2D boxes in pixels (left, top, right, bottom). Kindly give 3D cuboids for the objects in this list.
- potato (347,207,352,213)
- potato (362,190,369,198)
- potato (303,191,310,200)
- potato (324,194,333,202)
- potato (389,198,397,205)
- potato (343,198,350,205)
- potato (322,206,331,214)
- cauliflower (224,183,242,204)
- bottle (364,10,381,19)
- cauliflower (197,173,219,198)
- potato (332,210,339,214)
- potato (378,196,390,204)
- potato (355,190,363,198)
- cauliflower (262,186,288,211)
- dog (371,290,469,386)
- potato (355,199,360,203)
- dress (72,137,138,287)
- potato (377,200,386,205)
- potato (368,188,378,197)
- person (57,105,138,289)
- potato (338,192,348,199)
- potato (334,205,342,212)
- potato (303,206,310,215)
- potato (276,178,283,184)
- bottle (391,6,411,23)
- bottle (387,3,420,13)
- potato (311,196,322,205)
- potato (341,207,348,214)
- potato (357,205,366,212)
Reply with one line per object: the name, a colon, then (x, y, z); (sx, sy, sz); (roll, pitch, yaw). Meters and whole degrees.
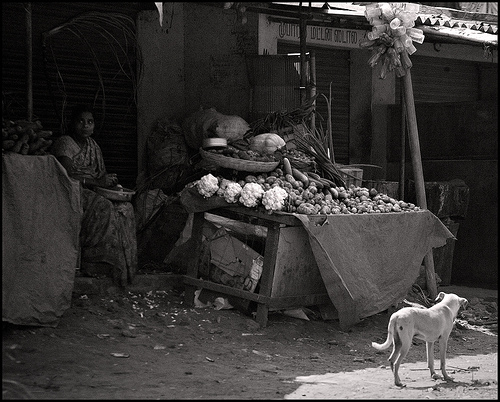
potato: (1.268, 0.109, 6.776); (0.072, 0.079, 0.057); (-4, 6, 33)
potato: (1.610, -0.105, 7.324); (0.066, 0.062, 0.069); (4, 12, 7)
potato: (0.710, -0.075, 6.640); (0.078, 0.082, 0.084); (-1, -2, 17)
potato: (1.009, -0.040, 6.843); (0.078, 0.098, 0.080); (0, -6, -16)
potato: (2.008, 0.000, 7.418); (0.065, 0.034, 0.067); (21, 5, 37)
potato: (1.272, 0.014, 6.994); (0.071, 0.041, 0.074); (-3, 46, 16)
potato: (0.951, 0.106, 6.510); (0.076, 0.084, 0.165); (8, 6, 20)
cauliflower: (-0.212, -0.103, 6.337); (0.204, 0.208, 0.080); (29, 3, -24)
bottle: (1.613, -2.486, 7.027); (0.239, 0.116, 0.109); (11, 8, 40)
cauliflower: (-0.528, -0.185, 6.466); (0.295, 0.285, 0.152); (6, 6, 8)
potato: (1.054, 0.133, 6.550); (0.048, 0.030, 0.065); (9, 6, 40)
potato: (1.875, -0.016, 7.386); (0.124, 0.044, 0.092); (32, -6, -24)
potato: (1.517, -0.092, 7.271); (0.090, 0.085, 0.161); (5, 6, -9)
cauliflower: (0.290, -0.024, 6.205); (0.143, 0.210, 0.266); (34, -5, -17)
dog: (1.607, 1.265, 4.910); (1.130, 0.813, 0.328); (4, -5, -28)
potato: (1.440, -0.003, 7.061); (0.126, 0.041, 0.058); (0, 8, -45)
dress: (-1.883, 0.258, 6.686); (0.821, 1.567, 0.717); (9, 7, 31)
potato: (1.796, 0.022, 7.230); (0.060, 0.026, 0.075); (10, 3, -44)
potato: (1.733, -0.118, 7.450); (0.094, 0.057, 0.094); (2, 17, 20)
person: (-1.935, -0.074, 6.671); (0.989, 2.229, 0.736); (8, 7, 27)
potato: (1.229, -0.079, 7.051); (0.083, 0.063, 0.084); (-1, 4, -25)
potato: (1.099, 0.093, 6.634); (0.069, 0.023, 0.069); (20, 4, 27)
potato: (0.665, 0.110, 6.259); (0.065, 0.095, 0.034); (-20, 1, -11)
potato: (0.376, -0.259, 6.716); (0.084, 0.059, 0.108); (6, 6, 4)
bottle: (1.986, -2.447, 6.936); (0.232, 0.086, 0.140); (41, 41, 17)
bottle: (2.076, -2.573, 7.008); (0.232, 0.091, 0.179); (12, 15, 0)
potato: (0.851, -0.017, 6.653); (0.095, 0.079, 0.074); (4, -14, -13)
potato: (1.192, 0.120, 6.667); (0.062, 0.070, 0.079); (-2, 0, -41)
potato: (1.448, 0.092, 6.817); (0.081, 0.045, 0.082); (12, 6, -14)
